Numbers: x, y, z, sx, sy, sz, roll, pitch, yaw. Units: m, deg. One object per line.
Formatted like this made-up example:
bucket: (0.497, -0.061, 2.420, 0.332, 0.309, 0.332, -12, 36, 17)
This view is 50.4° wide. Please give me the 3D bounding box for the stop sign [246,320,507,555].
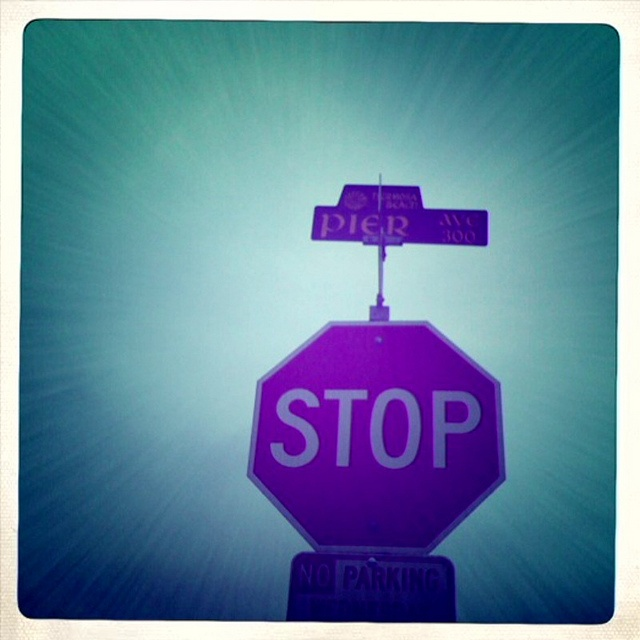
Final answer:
stop sign: (0.111, 0.239, 1.361, 0.376, 0.418, 0.041, 1, 0, 1)
